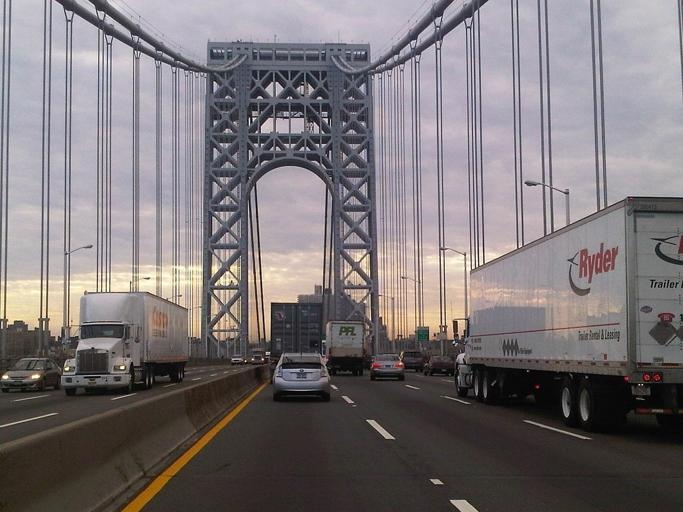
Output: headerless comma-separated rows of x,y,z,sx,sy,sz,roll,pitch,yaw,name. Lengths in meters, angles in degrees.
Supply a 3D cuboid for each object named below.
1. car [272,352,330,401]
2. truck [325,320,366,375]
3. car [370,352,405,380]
-1.274,3.995,23.614,1.809,1.522,1.169,1,-6,-4,car
0.176,7.078,53.532,2.852,3.800,6.077,1,-10,-7,truck
2.678,6.418,41.547,1.806,1.400,1.410,0,-6,8,car
